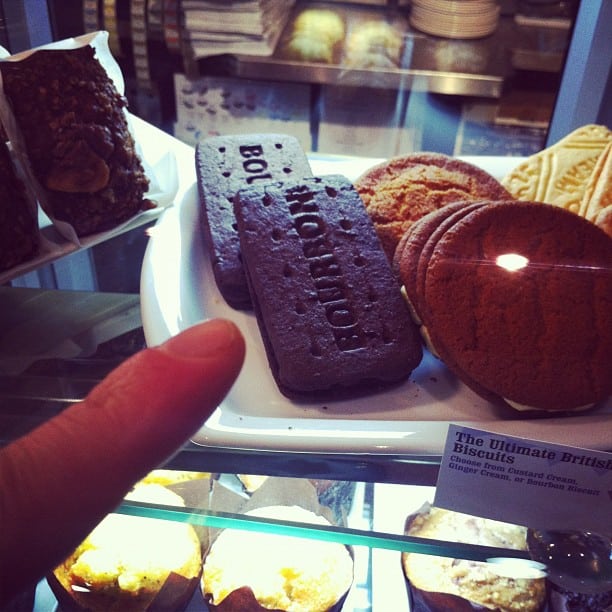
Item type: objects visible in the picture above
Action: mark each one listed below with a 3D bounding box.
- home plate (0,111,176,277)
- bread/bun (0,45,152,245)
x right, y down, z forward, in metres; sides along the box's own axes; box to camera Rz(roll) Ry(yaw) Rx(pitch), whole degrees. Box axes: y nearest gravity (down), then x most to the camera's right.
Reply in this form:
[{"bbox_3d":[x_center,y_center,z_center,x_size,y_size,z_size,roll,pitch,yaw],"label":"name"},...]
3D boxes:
[{"bbox_3d":[-0.253,-0.190,0.742,0.261,0.038,0.223,-26,67,-13],"label":"home plate"},{"bbox_3d":[-0.278,-0.184,0.653,0.159,0.204,0.065,-22,16,-28],"label":"bread/bun"}]
